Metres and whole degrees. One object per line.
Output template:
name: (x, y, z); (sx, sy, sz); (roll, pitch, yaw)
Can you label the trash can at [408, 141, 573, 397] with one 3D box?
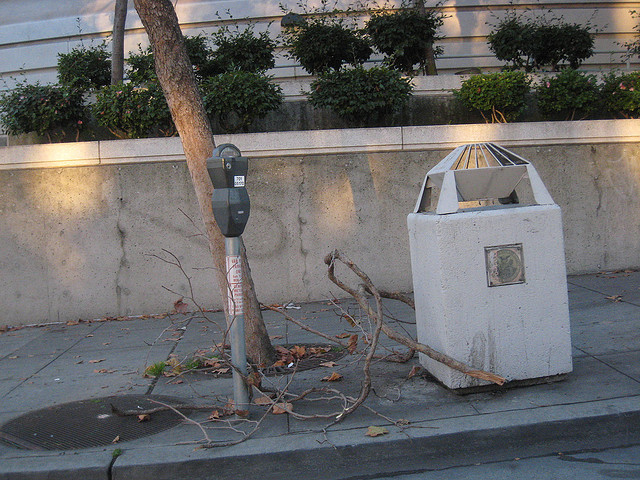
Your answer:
trash can: (2.164, 0.384, 12.778); (1.948, 3.098, 1.057); (-5, 10, 4)
